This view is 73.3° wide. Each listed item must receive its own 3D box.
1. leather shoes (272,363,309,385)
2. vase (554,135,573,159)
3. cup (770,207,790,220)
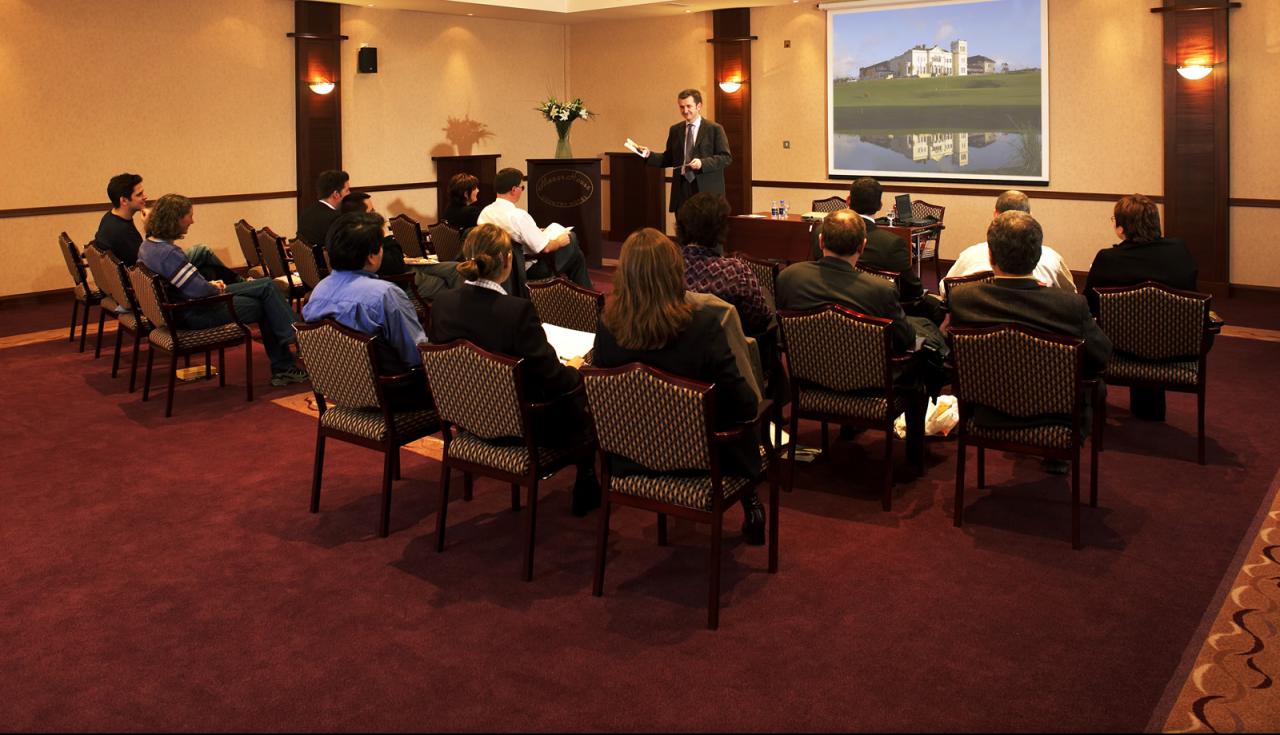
[{"bbox_3d":[-3.200,0.033,7.949,0.427,0.219,0.196,-4,8,-15],"label":"leather shoes"},{"bbox_3d":[-1.084,-3.090,12.076,0.211,0.307,0.607,-3,20,-5],"label":"vase"},{"bbox_3d":[1.693,-1.895,10.516,0.207,0.132,0.208,-1,14,0],"label":"cup"}]
